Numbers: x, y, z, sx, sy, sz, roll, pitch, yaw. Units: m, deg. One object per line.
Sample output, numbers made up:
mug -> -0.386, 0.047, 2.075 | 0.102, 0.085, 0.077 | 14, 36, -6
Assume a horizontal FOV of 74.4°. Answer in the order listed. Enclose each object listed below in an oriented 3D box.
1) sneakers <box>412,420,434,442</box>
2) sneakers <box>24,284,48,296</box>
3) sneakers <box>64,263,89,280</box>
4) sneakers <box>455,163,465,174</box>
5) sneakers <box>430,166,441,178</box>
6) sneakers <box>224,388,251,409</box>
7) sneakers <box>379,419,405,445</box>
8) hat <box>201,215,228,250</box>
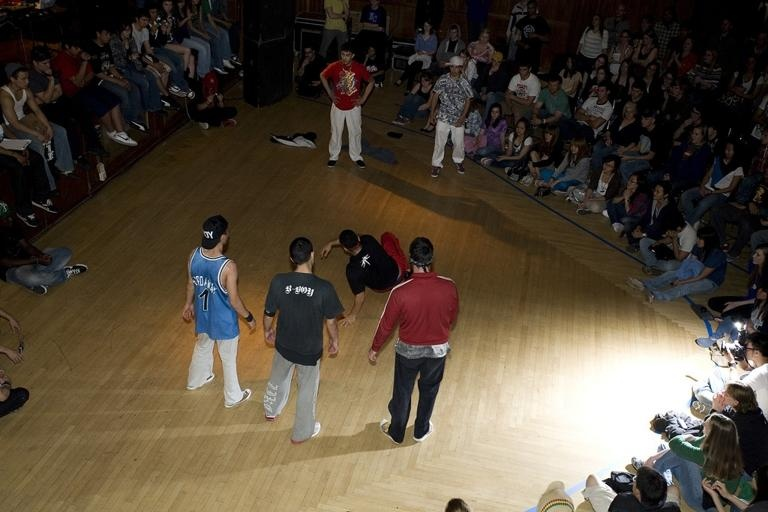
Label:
sneakers -> 0.454, 2.103, 5.971 | 0.136, 0.162, 0.339 | 9, 38, 18
sneakers -> -4.803, 0.476, 7.047 | 0.319, 0.133, 0.120 | 6, 65, -14
sneakers -> -4.482, 0.229, 7.390 | 0.344, 0.129, 0.133 | -12, 15, -33
sneakers -> 1.587, -1.811, 10.418 | 0.109, 0.103, 0.260 | -4, 46, -3
sneakers -> 1.049, -1.692, 10.225 | 0.110, 0.133, 0.301 | 6, 33, 9
sneakers -> -1.776, 1.727, 6.112 | 0.126, 0.148, 0.331 | 26, 44, 30
sneakers -> 0.076, 2.065, 5.959 | 0.153, 0.142, 0.349 | -18, 49, -18
hat -> -1.777, -0.245, 5.239 | 0.214, 0.310, 0.235 | 26, 33, 34
